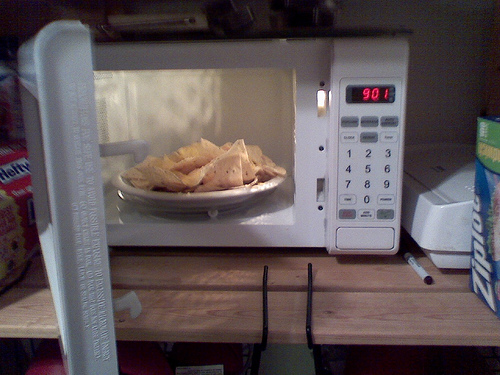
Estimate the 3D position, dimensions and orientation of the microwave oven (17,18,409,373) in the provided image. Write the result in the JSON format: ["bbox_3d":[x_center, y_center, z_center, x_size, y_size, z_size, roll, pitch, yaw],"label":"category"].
[{"bbox_3d":[-0.003,-0.018,0.794,0.532,0.439,0.691,0,13,-1],"label":"microwave oven"}]
